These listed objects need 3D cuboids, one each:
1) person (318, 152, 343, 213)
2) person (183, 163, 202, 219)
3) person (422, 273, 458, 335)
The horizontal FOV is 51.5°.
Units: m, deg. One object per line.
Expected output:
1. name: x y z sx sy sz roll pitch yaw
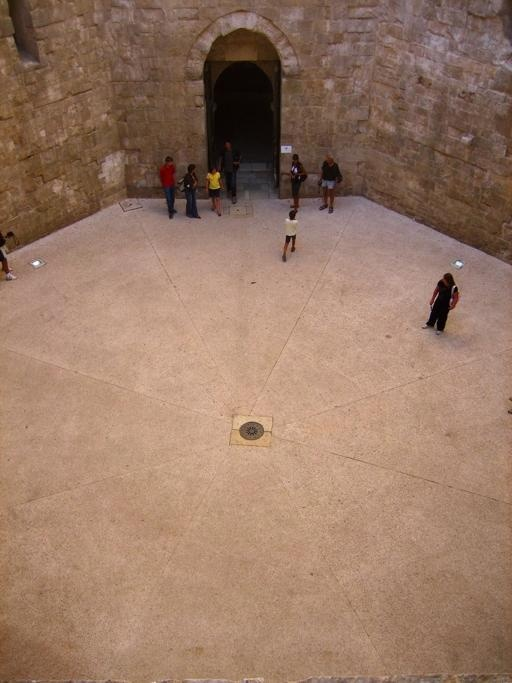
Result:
1. person: 1.513 -3.288 10.994 0.414 1.146 0.834 4 29 6
2. person: -1.293 -2.978 10.576 0.282 1.133 0.685 -2 29 -5
3. person: 2.642 -0.543 7.478 0.207 0.959 0.329 -30 50 -25
